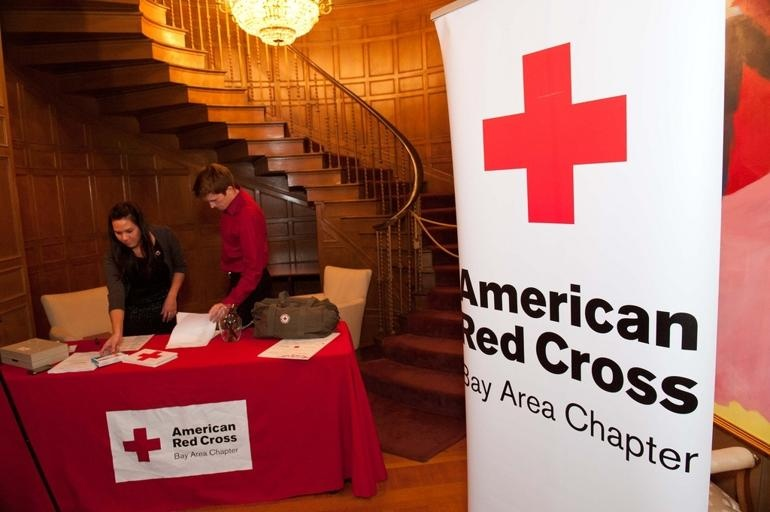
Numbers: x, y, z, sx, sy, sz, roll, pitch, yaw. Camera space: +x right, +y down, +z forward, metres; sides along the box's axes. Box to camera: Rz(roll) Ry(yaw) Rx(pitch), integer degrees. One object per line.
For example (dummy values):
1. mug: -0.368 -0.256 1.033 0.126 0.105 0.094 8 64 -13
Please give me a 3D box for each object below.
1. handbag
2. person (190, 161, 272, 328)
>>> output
1. handbag: -0.510 0.318 3.007 0.373 0.195 0.258 2 7 4
2. person: -0.924 -0.063 3.269 0.430 1.039 0.736 -2 5 -13
